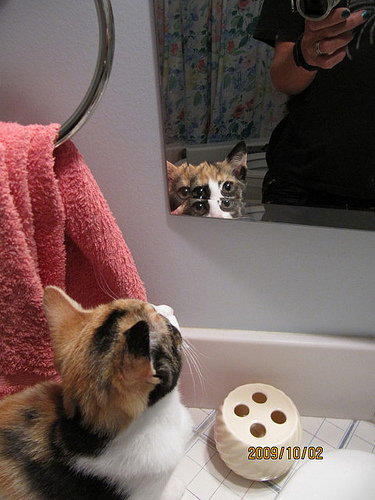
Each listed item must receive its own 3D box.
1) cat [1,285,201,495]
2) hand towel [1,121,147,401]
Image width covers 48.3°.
[{"bbox_3d":[-0.091,0.152,0.450,0.210,0.214,0.140,2,23,-11],"label":"cat"},{"bbox_3d":[-0.139,0.027,0.550,0.259,0.287,0.130,-1,-15,-11],"label":"hand towel"}]
